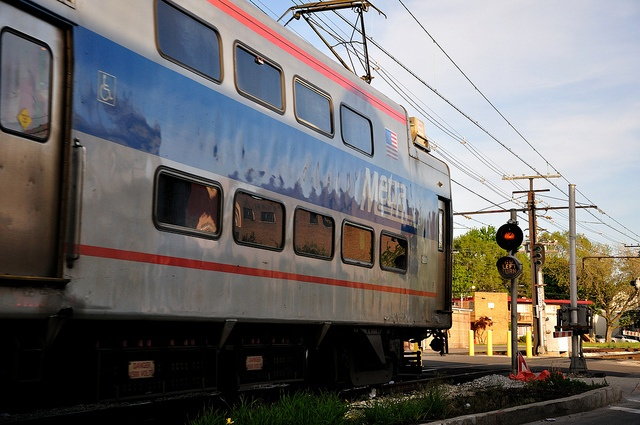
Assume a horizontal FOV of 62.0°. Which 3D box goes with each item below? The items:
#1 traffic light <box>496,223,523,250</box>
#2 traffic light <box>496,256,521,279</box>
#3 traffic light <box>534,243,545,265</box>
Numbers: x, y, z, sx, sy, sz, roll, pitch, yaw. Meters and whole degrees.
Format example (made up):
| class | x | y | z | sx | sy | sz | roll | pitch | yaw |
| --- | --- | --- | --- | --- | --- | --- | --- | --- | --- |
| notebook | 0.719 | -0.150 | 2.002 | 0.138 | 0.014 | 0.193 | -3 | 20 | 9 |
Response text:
| class | x | y | z | sx | sy | sz | roll | pitch | yaw |
| --- | --- | --- | --- | --- | --- | --- | --- | --- | --- |
| traffic light | 5.036 | 0.625 | 14.203 | 0.642 | 0.559 | 0.570 | 5 | -2 | 25 |
| traffic light | 5.010 | 1.428 | 14.074 | 0.461 | 0.471 | 0.736 | 7 | -2 | -28 |
| traffic light | 10.908 | 2.065 | 26.550 | 0.418 | 0.745 | 0.489 | 5 | -2 | 15 |
